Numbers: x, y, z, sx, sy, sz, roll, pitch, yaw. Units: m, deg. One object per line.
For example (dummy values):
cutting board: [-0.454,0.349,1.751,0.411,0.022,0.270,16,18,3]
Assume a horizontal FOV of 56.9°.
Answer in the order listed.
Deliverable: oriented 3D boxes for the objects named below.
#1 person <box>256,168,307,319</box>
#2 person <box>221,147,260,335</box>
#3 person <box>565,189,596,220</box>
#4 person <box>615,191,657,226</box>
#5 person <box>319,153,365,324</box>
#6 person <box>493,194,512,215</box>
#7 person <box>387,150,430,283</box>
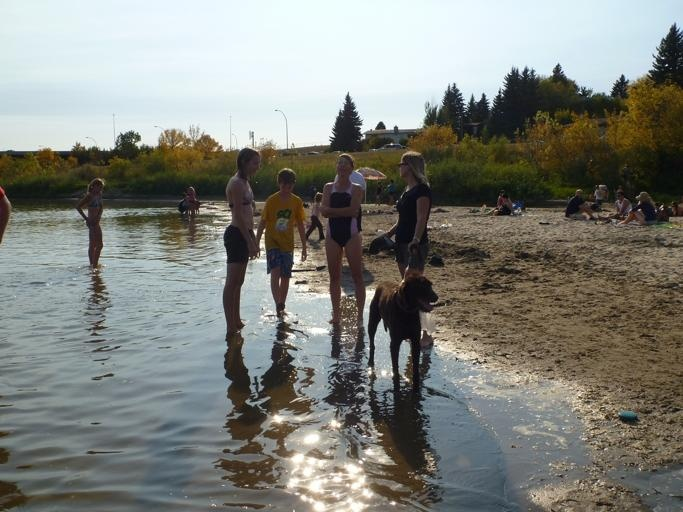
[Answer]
person: [-0.941,-0.199,10.046,0.694,2.353,1.054,2,9,17]
person: [-1.493,-0.221,9.440,0.578,2.742,0.839,-2,8,-10]
person: [8.957,-1.987,23.795,0.947,1.075,1.844,3,10,19]
person: [9.687,-1.523,20.655,1.110,1.153,0.542,5,-4,30]
person: [0.015,-0.191,9.426,0.614,2.604,0.557,-1,8,-3]
person: [6.813,-2.091,26.325,0.746,1.086,0.899,0,0,-3]
person: [0.937,-0.505,8.521,0.584,1.766,0.983,0,8,-1]
